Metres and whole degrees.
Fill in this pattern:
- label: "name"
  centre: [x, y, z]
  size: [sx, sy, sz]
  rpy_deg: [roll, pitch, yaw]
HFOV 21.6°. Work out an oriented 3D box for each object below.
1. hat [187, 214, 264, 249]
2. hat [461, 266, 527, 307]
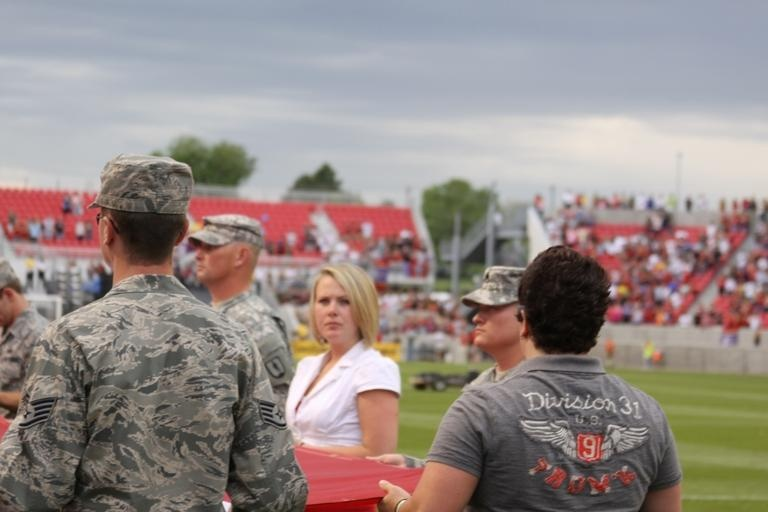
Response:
- label: "hat"
  centre: [-3.039, -0.533, 39.848]
  size: [1.096, 0.391, 0.751]
  rpy_deg: [-1, 3, -9]
- label: "hat"
  centre: [2.161, 0.581, 39.558]
  size: [1.035, 0.519, 0.753]
  rpy_deg: [-1, -5, -12]
